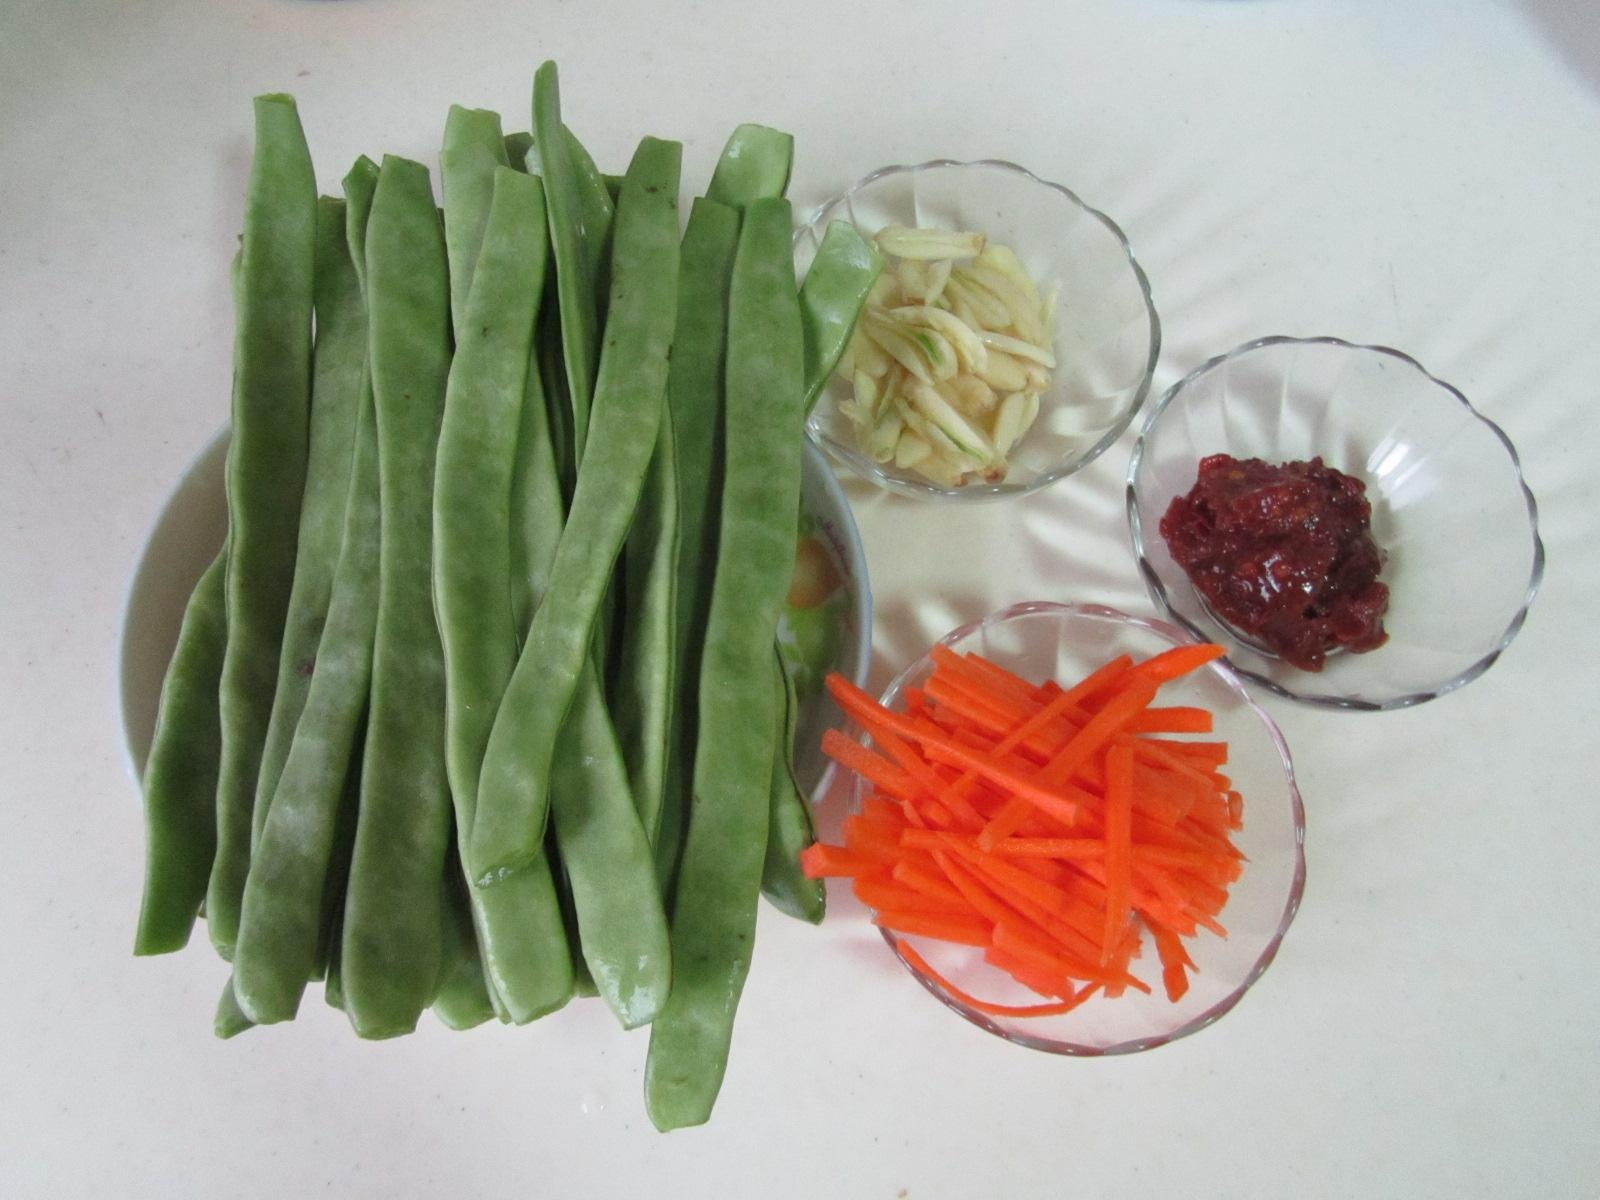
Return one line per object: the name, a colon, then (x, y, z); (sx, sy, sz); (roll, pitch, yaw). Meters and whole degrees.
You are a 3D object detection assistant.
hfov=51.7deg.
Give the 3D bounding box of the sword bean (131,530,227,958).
sword bean: (-0.633, 0.186, 1.718); (0.072, 0.064, 0.513); (8, 82, -37)
